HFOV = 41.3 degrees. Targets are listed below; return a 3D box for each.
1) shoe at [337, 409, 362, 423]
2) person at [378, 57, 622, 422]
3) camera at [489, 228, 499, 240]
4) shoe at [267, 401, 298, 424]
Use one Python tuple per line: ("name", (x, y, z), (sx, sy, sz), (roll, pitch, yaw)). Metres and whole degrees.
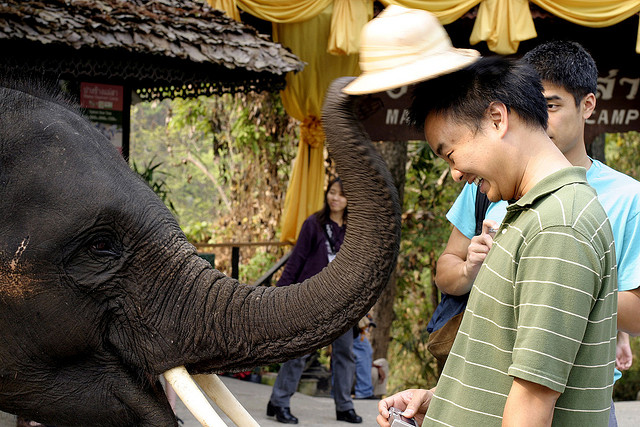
("shoe", (0.249, 1.709, 7.212), (0.218, 0.109, 0.091), (-1, -2, 15))
("person", (1.007, 0.194, 4.408), (1.099, 2.375, 1.456), (4, -3, 11))
("camera", (0.801, 0.088, 3.869), (0.030, 0.048, 0.015), (6, 15, 7))
("shoe", (-0.315, 1.627, 6.994), (0.296, 0.158, 0.113), (9, 6, 39))
